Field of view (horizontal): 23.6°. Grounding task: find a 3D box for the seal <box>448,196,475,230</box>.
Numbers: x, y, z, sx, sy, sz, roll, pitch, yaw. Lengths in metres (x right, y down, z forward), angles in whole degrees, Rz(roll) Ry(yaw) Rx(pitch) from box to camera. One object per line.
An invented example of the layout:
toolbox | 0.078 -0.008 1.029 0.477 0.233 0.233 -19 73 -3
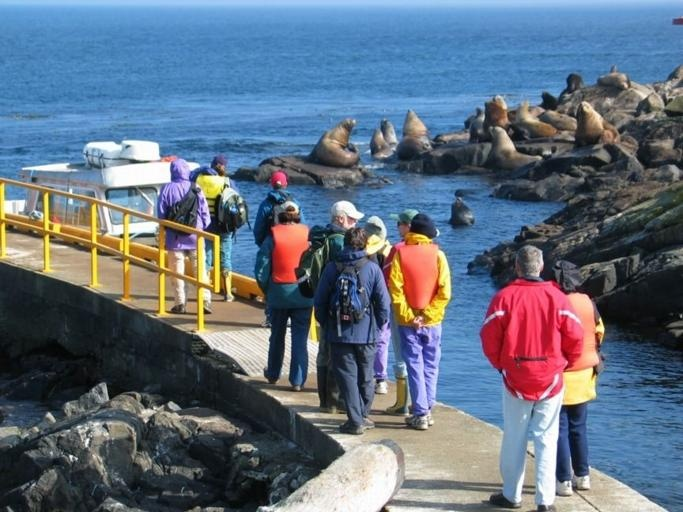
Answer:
seal | 4.566 -1.664 60.886 0.943 1.117 0.415 -3 -6 10

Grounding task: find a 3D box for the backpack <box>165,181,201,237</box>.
backpack | -4.233 -1.397 43.348 0.844 1.129 0.225 2 6 -2

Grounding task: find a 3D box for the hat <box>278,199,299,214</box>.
hat | -1.353 -1.313 41.506 0.450 0.324 0.622 4 2 -4

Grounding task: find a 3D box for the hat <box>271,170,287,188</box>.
hat | -1.646 -2.048 42.755 0.437 0.351 0.624 -3 -9 1

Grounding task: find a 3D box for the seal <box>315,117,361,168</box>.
seal | -0.267 -5.035 71.282 2.015 2.022 1.735 2 6 -3

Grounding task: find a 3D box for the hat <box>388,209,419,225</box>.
hat | 1.602 -1.023 41.333 0.622 0.247 0.391 6 24 9
